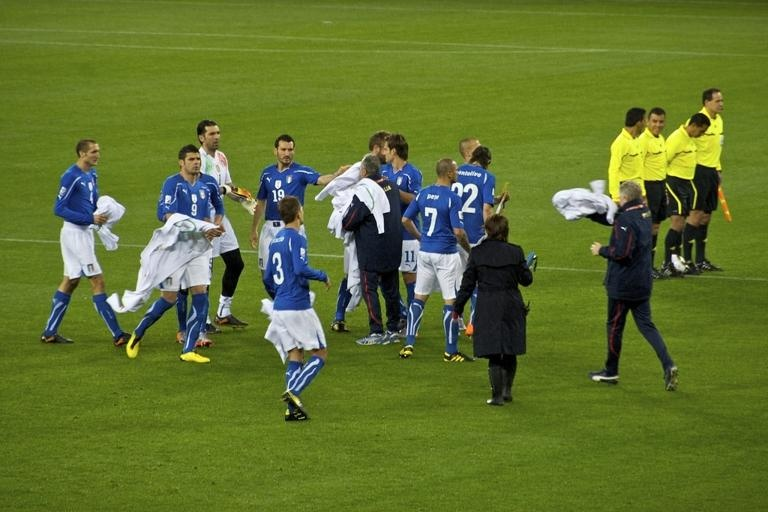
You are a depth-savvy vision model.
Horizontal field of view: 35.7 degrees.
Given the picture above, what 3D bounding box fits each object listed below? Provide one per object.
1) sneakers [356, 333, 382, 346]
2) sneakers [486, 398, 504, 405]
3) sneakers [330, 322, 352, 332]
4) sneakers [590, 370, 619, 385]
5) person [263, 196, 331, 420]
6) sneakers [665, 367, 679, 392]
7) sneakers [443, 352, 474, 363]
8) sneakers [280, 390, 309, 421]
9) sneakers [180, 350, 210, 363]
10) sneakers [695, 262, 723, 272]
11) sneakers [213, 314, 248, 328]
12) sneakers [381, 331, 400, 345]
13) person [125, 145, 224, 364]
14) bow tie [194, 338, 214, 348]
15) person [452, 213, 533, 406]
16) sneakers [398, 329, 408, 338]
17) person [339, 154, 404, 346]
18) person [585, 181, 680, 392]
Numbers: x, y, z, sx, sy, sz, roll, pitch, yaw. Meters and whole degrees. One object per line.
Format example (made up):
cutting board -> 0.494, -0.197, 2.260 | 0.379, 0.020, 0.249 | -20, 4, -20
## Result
sneakers -> -0.242, 1.477, 20.975 | 0.511, 0.184, 0.170 | 0, 3, -2
sneakers -> 1.758, 2.281, 18.791 | 0.116, 0.081, 0.217 | -8, 13, -44
sneakers -> -0.804, 1.305, 21.650 | 0.166, 0.148, 0.334 | -3, 14, -19
sneakers -> 3.587, 1.986, 19.529 | 0.546, 0.234, 0.195 | 7, -3, 11
person -> -1.376, 0.816, 18.489 | 0.771, 3.379, 0.905 | -8, 12, -40
sneakers -> 4.597, 1.962, 19.119 | 0.185, 0.418, 0.263 | 1, 9, 11
sneakers -> 1.257, 1.736, 20.388 | 0.553, 0.172, 0.169 | 0, 2, -4
sneakers -> -1.375, 2.308, 18.350 | 0.244, 0.269, 0.610 | -8, -40, 15
sneakers -> -3.203, 1.701, 20.196 | 0.438, 0.147, 0.209 | 0, 9, 1
sneakers -> 6.653, 0.239, 24.553 | 0.602, 0.205, 0.202 | 1, 9, 10
sneakers -> -2.825, 1.208, 21.887 | 0.654, 0.238, 0.223 | 0, 3, -6
sneakers -> 0.121, 1.457, 21.068 | 0.157, 0.149, 0.363 | -3, 7, -30
person -> -3.510, -0.037, 20.349 | 1.574, 3.612, 1.125 | -2, 9, -11
bow tie -> -3.103, 1.516, 20.818 | 0.119, 0.121, 0.298 | 2, -10, -40
person -> 1.755, 0.854, 18.847 | 1.117, 2.943, 0.660 | 0, 9, 5
sneakers -> 0.341, 1.384, 21.243 | 0.242, 0.198, 0.122 | 0, -18, 1
person -> -0.163, -0.082, 20.889 | 0.945, 3.282, 0.392 | -1, 9, -1
person -> 3.971, 0.499, 19.141 | 1.264, 3.265, 0.580 | 1, 9, 8
